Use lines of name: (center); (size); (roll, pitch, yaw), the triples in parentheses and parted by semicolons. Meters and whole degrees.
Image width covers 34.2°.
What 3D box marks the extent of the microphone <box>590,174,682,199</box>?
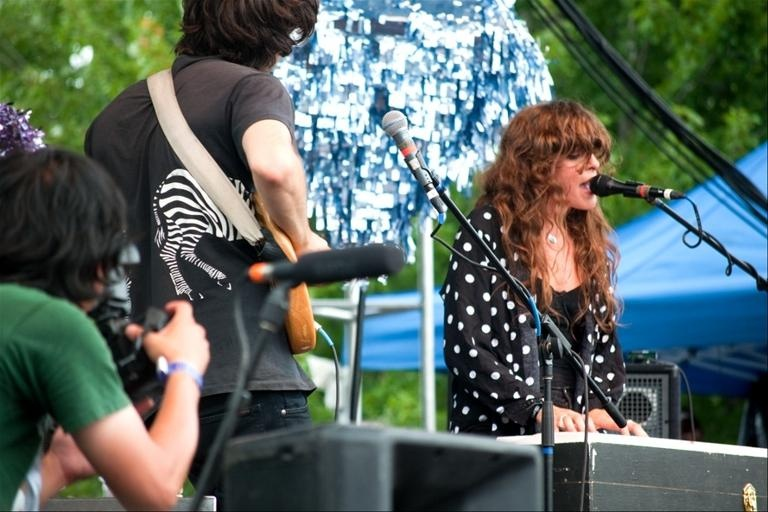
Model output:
microphone: (1.320, -0.356, 6.520); (0.471, 0.151, 0.238); (-2, -5, 7)

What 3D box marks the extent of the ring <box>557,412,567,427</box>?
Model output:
ring: (0.880, 0.823, 6.156); (0.025, 0.049, 0.051); (4, -4, -42)

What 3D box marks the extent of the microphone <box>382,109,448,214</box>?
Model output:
microphone: (0.147, -0.453, 6.067); (0.301, 0.507, 0.210); (-1, -5, 0)

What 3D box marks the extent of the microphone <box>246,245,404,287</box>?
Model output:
microphone: (-0.222, 0.039, 4.979); (0.623, 0.176, 0.149); (0, -5, -9)

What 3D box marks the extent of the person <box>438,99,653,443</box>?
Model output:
person: (0.805, 0.044, 6.507); (1.001, 1.790, 0.728); (-1, -5, -7)

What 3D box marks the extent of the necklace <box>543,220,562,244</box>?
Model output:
necklace: (0.906, -0.122, 6.669); (0.113, 0.105, 0.026); (5, -19, -41)
